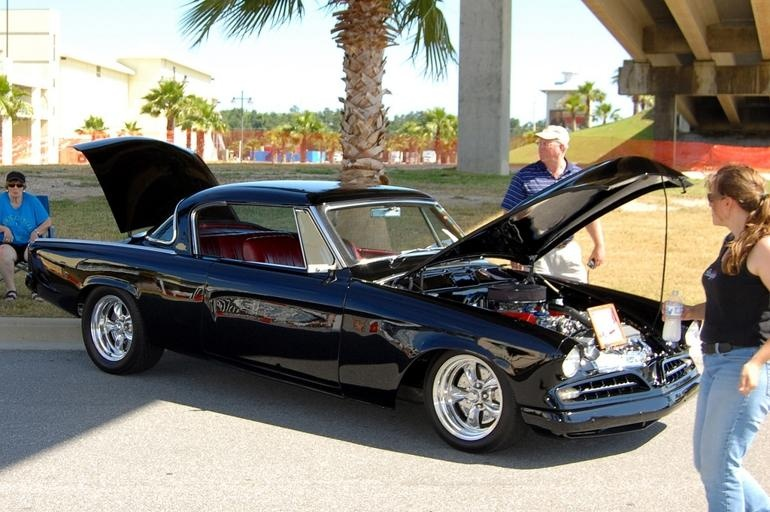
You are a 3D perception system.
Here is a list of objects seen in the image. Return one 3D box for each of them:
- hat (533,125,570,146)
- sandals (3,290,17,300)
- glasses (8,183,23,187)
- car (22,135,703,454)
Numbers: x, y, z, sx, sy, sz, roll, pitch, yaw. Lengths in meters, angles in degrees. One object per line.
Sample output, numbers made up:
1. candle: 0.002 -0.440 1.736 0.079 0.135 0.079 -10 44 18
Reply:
1. hat: 1.717 -1.245 6.794 0.355 0.165 0.223 9 2 -24
2. sandals: -4.984 0.531 8.983 0.142 0.162 0.250 -6 12 -31
3. glasses: -5.094 -0.973 9.306 0.193 0.057 0.078 -7 13 -38
4. car: -0.433 0.120 6.901 6.441 2.271 2.632 5 6 25
